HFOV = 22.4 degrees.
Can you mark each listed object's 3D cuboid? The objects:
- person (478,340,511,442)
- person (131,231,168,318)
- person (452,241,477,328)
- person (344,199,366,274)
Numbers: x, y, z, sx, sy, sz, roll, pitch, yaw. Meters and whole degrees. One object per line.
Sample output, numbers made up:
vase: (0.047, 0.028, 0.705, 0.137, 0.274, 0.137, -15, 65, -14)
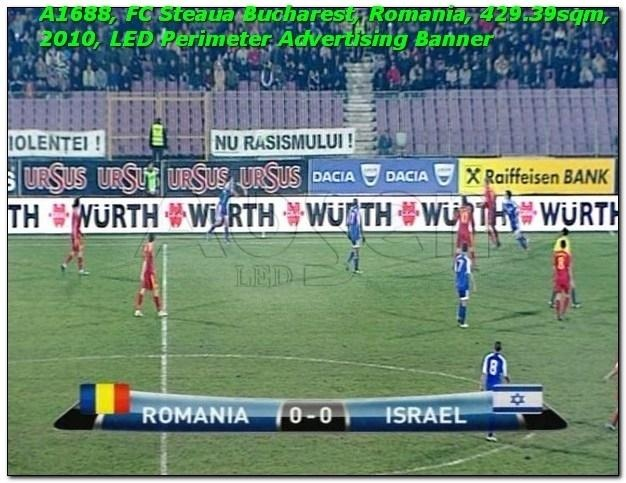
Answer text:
person: (4.952, 3.838, 43.299, 0.668, 2.282, 0.439, 7, 20, 14)
person: (-4.822, 0.969, 47.340, 1.006, 2.435, 0.688, 2, -5, 7)
person: (4.418, 1.351, 46.936, 0.876, 2.214, 0.723, 2, 8, 2)
person: (1.340, -0.212, 51.729, 0.416, 2.438, 0.811, -2, 7, -13)
